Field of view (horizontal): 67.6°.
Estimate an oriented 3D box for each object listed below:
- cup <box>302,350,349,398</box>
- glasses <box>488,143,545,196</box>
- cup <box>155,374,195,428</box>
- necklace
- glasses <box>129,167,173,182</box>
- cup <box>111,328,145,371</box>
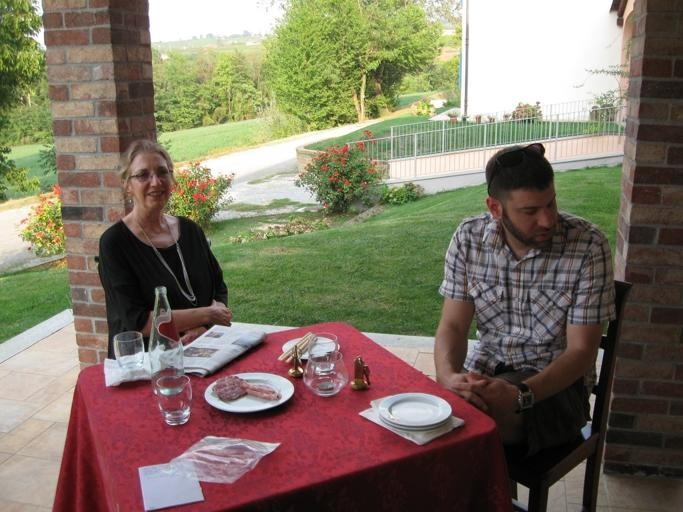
[{"bbox_3d":[-0.050,0.445,1.958,0.163,0.137,0.151,-2,5,0],"label":"cup"},{"bbox_3d":[0.742,-0.351,2.132,0.246,0.201,0.148,0,13,19],"label":"glasses"},{"bbox_3d":[-0.570,0.494,1.765,0.142,0.169,0.148,-3,-1,0],"label":"cup"},{"bbox_3d":[-0.974,0.023,2.950,0.190,0.633,0.045,-24,-4,-12],"label":"necklace"},{"bbox_3d":[-1.076,-0.468,2.931,0.127,0.041,0.127,-4,-8,-32],"label":"glasses"},{"bbox_3d":[-0.857,0.379,2.088,0.137,0.160,0.135,-1,4,0],"label":"cup"}]
